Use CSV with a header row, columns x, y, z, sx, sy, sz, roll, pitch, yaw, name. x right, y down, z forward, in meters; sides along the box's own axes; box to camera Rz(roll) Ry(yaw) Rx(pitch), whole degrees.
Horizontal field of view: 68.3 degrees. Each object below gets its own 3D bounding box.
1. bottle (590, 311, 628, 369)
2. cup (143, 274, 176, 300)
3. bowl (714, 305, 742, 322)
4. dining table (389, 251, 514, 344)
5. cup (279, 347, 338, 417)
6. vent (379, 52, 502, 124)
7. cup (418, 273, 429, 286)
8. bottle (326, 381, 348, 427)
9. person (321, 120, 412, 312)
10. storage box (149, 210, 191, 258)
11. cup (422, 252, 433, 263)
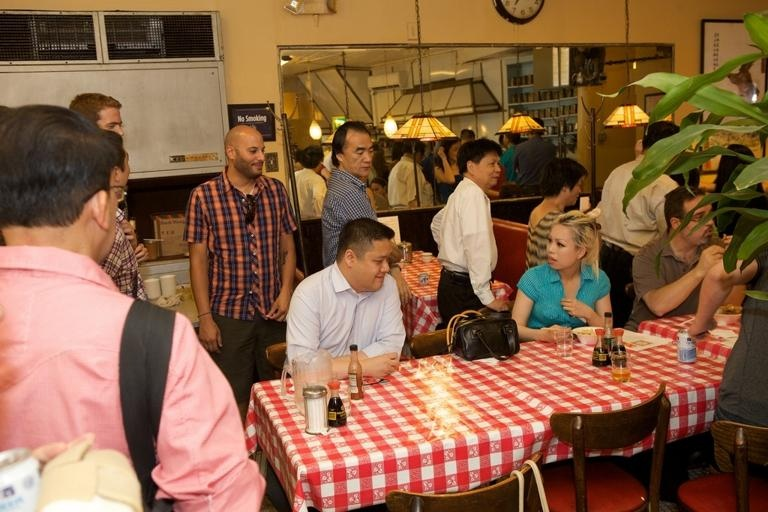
x,y,z,sx,sy,sz,roll,pitch,yaw,name
1.079,0.411,2.741,0.230,0.343,0.119,-2,1,-36,bottle
-1.541,0.196,3.871,0.136,0.157,0.218,-6,-6,40,cup
1.877,0.313,3.092,0.114,0.044,0.115,-6,7,1,bowl
0.413,0.448,4.172,0.527,0.223,0.871,-7,14,-19,dining table
-0.311,0.496,2.358,0.299,0.317,0.169,-4,4,3,cup
0.449,-1.762,5.846,1.202,0.657,0.572,0,16,37,vent
0.300,0.161,4.229,0.060,0.074,0.076,-4,-9,39,cup
-0.191,0.557,2.197,0.078,0.187,0.130,-6,11,-5,bottle
-0.187,0.001,3.929,0.540,1.735,0.540,-4,26,-20,person
-1.558,-0.156,4.104,0.321,0.415,0.219,-4,12,-19,storage box
0.369,0.007,4.903,0.068,0.052,0.070,2,12,-1,cup
